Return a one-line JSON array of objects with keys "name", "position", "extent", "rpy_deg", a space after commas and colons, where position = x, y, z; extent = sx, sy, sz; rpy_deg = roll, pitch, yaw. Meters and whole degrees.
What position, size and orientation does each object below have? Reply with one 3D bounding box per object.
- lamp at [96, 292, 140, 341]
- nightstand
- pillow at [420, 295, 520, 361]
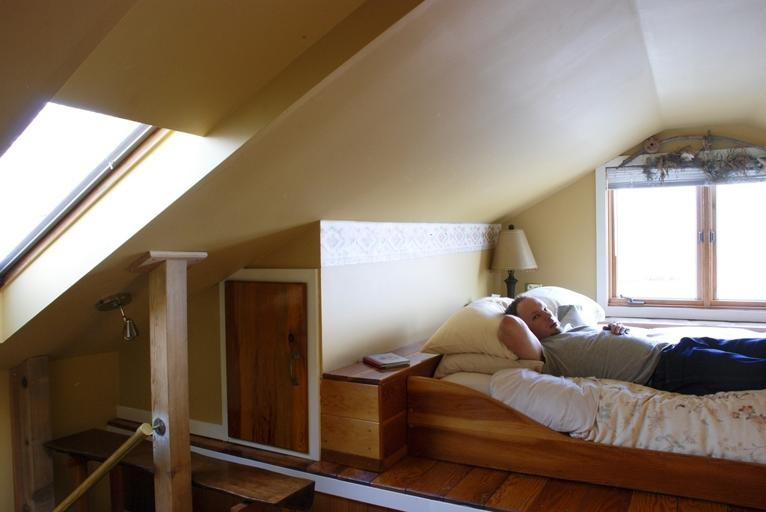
[{"name": "lamp", "position": [-1.492, 0.335, 3.411], "extent": [0.200, 0.257, 0.403], "rpy_deg": [0, -2, -24]}, {"name": "nightstand", "position": [-0.008, 0.959, 3.845], "extent": [0.355, 0.494, 1.085], "rpy_deg": [1, -5, 19]}, {"name": "pillow", "position": [0.679, 0.440, 4.006], "extent": [0.567, 0.260, 0.980], "rpy_deg": [6, 12, 19]}]
